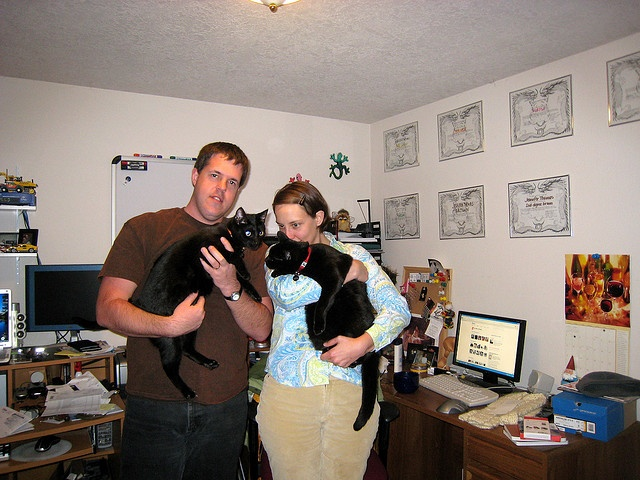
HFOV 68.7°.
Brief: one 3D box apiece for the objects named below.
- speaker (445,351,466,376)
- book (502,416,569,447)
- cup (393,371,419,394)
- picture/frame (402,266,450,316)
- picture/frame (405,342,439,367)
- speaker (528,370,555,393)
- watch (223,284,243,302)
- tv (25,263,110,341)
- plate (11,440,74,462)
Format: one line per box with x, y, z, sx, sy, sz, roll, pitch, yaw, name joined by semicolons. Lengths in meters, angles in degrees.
1.018;0.953;3.542;0.115;0.142;0.209;1;4;-20;speaker
1.229;1.094;2.707;0.330;0.110;0.209;0;0;-4;book
0.584;0.966;3.189;0.158;0.097;0.135;-1;-2;-21;cup
0.893;0.424;3.860;0.047;0.361;0.418;14;-12;-40;picture/frame
0.770;0.912;3.727;0.226;0.153;0.061;-5;-19;41;picture/frame
1.543;0.994;3.278;0.156;0.154;0.130;7;-18;22;speaker
-0.403;0.240;2.133;0.029;0.059;0.059;48;4;-40;watch
-1.760;0.407;3.217;0.638;0.611;0.208;-1;-4;-15;tv
-1.738;1.316;2.929;0.344;0.034;0.254;0;0;-16;plate
